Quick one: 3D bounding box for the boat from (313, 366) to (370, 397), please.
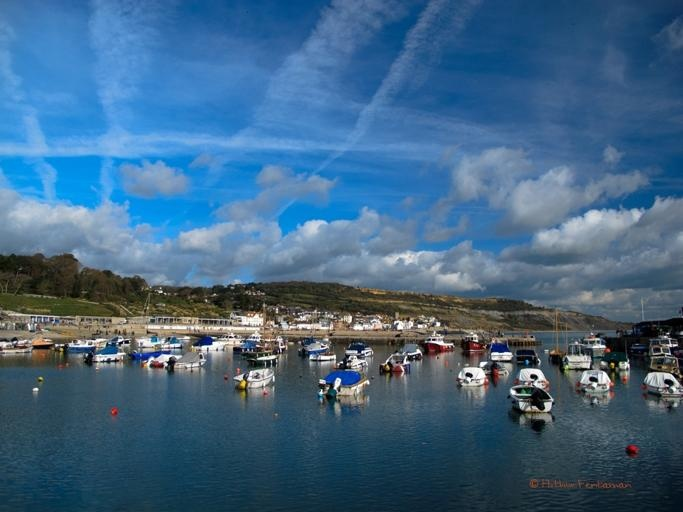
[{"bbox_3d":[-0.095,14.333,62.510,4.004,1.762,6.628,0,-1,17],"label":"boat"}]
